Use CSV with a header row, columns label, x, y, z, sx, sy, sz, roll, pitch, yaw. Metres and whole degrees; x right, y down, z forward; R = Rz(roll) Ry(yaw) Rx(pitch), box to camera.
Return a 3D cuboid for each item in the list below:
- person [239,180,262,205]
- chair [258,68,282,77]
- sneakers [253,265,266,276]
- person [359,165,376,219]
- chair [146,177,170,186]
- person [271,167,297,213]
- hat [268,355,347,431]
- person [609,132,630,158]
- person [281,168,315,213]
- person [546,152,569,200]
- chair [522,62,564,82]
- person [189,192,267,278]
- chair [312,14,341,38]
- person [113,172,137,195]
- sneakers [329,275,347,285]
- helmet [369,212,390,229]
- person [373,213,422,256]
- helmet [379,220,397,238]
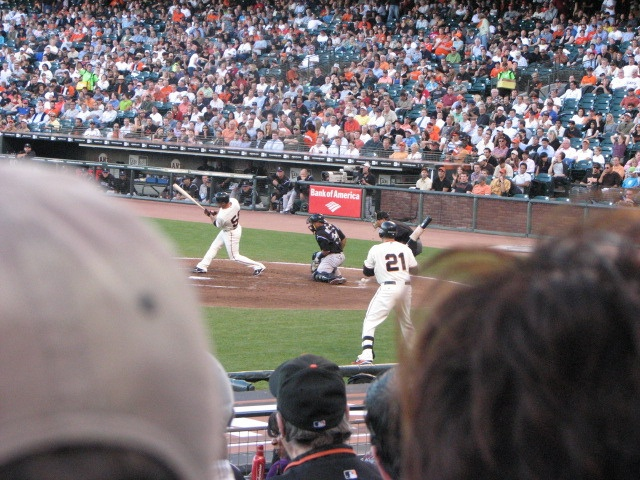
label,x,y,z,sx,sy,sz,roll,pitch,yaw
person,-1.591,-0.997,23.406,0.440,0.680,0.517,3,14,16
chair,-1.398,-4.677,29.082,0.387,0.173,0.506,1,1,10
sneakers,-0.802,0.430,13.856,0.104,0.079,0.219,33,-23,-7
person,0.985,-0.955,21.337,0.357,1.106,1.043,2,7,2
chair,-3.875,-1.379,24.777,0.727,0.198,0.214,8,-2,-4
person,-0.848,-1.051,23.027,0.692,0.985,0.644,3,4,45
hat,-0.047,0.507,3.781,0.283,0.194,0.405,-4,24,-12
person,5.636,-1.744,19.471,0.278,0.470,0.802,4,7,15
person,-0.485,-1.019,22.567,0.470,0.997,1.000,-1,8,-26
person,4.406,-1.170,19.269,0.502,0.870,0.384,3,1,-37
chair,5.242,-3.889,24.262,0.999,0.325,0.419,4,-13,46
person,-1.459,-0.038,16.502,1.394,0.580,1.557,4,-32,2
chair,0.232,-6.550,31.679,0.710,0.354,0.886,3,25,17
person,-4.659,-1.311,24.781,0.479,0.841,0.630,3,11,4
sneakers,0.242,0.550,13.673,0.186,0.078,0.096,-13,10,8
helmet,0.596,-0.184,10.704,0.213,0.205,0.158,10,14,28
person,0.889,-0.051,11.812,0.749,0.301,0.462,21,-6,-43
helmet,0.613,-0.081,9.340,0.143,0.119,0.149,-3,21,-10
